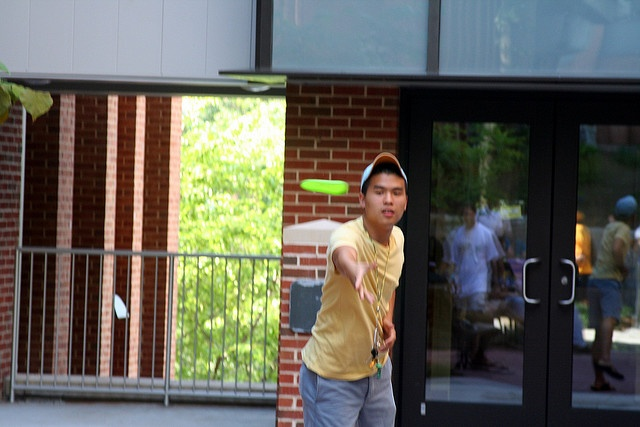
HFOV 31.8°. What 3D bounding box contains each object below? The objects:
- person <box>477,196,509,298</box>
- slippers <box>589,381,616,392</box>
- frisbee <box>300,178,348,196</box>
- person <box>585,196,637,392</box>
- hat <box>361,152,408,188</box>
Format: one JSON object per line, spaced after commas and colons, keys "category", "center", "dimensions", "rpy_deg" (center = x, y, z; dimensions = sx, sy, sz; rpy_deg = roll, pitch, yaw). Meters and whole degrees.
{"category": "person", "center": [2.390, 0.396, 14.870], "dimensions": [0.244, 1.107, 0.275], "rpy_deg": [-5, -13, 7]}
{"category": "slippers", "center": [3.719, 2.279, 14.674], "dimensions": [0.292, 0.148, 0.123], "rpy_deg": [-1, -1, -4]}
{"category": "frisbee", "center": [0.059, -0.330, 12.958], "dimensions": [0.452, 0.142, 0.252], "rpy_deg": [19, -6, -24]}
{"category": "person", "center": [3.865, 1.030, 14.739], "dimensions": [0.631, 2.541, 0.180], "rpy_deg": [0, 1, -19]}
{"category": "hat", "center": [0.726, -0.485, 12.726], "dimensions": [0.487, 0.430, 0.624], "rpy_deg": [0, 1, 2]}
